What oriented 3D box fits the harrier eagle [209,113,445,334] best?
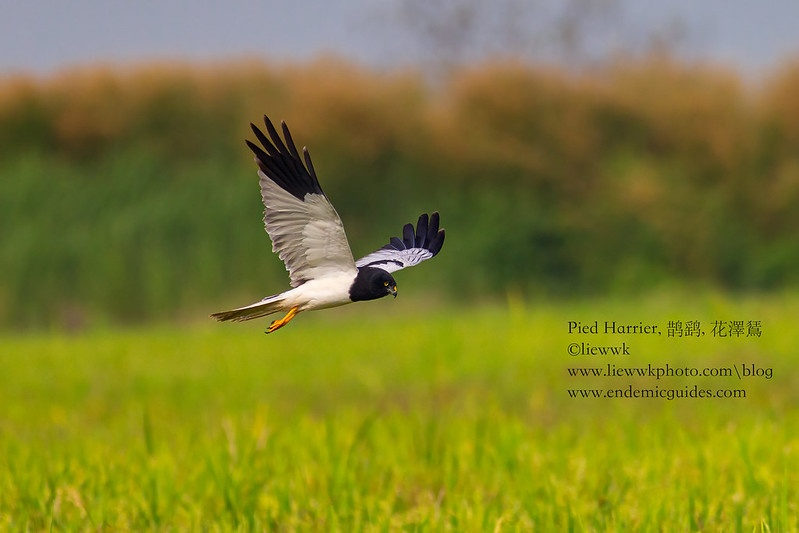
[{"bbox_3d":[-0.619,-0.074,7.746,1.140,1.191,1.884,-1,18,-16],"label":"harrier eagle"}]
